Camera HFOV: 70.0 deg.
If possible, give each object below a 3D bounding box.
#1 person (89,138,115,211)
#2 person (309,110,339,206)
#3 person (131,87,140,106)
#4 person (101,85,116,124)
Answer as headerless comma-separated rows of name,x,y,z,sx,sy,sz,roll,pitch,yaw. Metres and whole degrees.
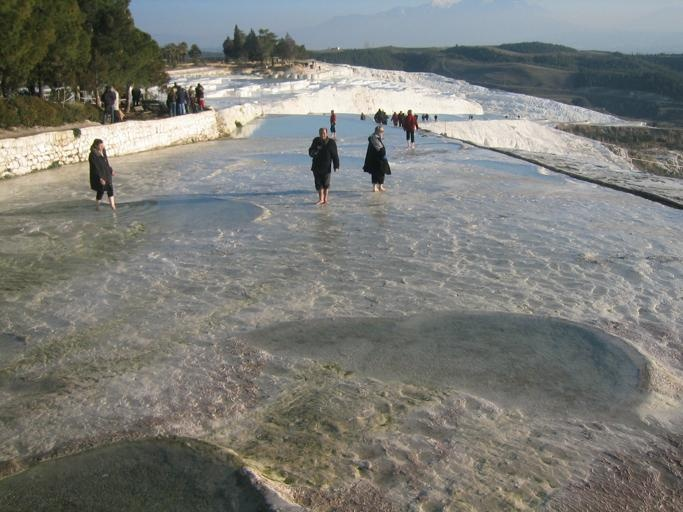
person,-5.135,-1.774,10.401,0.490,1.547,1.236,-12,26,-25
person,-0.361,-1.981,10.763,0.600,1.747,0.920,-2,24,-2
person,-12.061,-9.341,28.665,0.593,1.109,1.378,-9,25,-19
person,-8.898,-5.740,18.611,0.565,1.349,2.138,-11,25,-23
